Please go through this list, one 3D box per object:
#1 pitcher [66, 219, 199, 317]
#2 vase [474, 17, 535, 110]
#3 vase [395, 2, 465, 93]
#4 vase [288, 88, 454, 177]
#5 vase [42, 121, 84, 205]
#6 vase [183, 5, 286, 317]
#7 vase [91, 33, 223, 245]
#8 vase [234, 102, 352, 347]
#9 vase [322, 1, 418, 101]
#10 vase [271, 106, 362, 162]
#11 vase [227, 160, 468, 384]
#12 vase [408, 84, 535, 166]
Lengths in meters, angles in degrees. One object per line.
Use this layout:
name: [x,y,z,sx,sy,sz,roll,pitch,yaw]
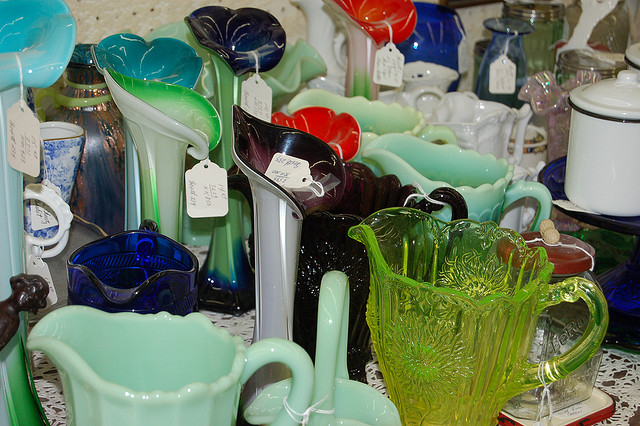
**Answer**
pitcher: [-0.255,0.062,0.789,0.191,0.139,0.159,-2,13,-15]
vase: [0.510,-0.364,1.495,0.097,0.302,0.155,-11,22,-20]
vase: [0.266,-0.458,1.540,0.199,0.278,0.234,9,21,13]
vase: [0.085,-0.148,1.086,0.315,0.117,0.163,21,33,5]
vase: [-0.444,-0.083,0.966,0.063,0.151,0.116,-6,11,-26]
vase: [-0.157,-0.062,1.048,0.186,0.591,0.155,27,33,36]
vase: [-0.249,-0.131,0.931,0.176,0.395,0.219,-5,19,-19]
vase: [-0.040,0.021,0.831,0.138,0.423,0.159,-6,42,-10]
vase: [0.087,-0.333,1.143,0.205,0.202,0.119,-7,11,-30]
vase: [-0.007,-0.157,1.008,0.136,0.119,0.106,-20,30,-37]
vase: [0.059,0.106,1.010,0.450,0.460,0.324,-1,23,-6]
vase: [0.309,-0.199,1.245,0.205,0.184,0.326,2,22,18]
